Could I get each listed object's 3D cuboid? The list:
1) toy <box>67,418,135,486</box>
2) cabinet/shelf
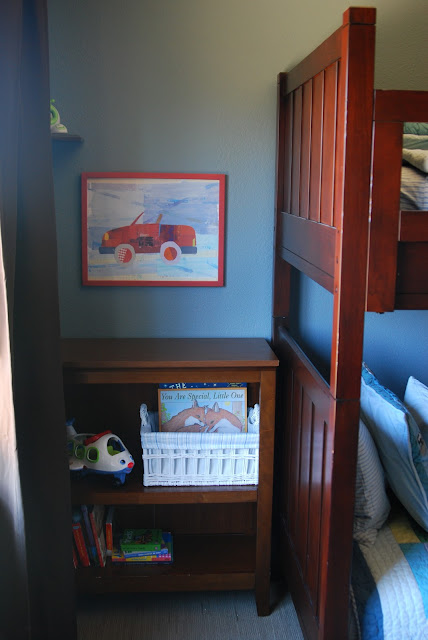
[{"bbox_3d":[-0.354,0.372,1.527,0.159,0.115,0.162,3,4,36],"label":"toy"},{"bbox_3d":[-0.152,0.481,1.557,0.581,0.807,0.292,-1,8,-2],"label":"cabinet/shelf"}]
